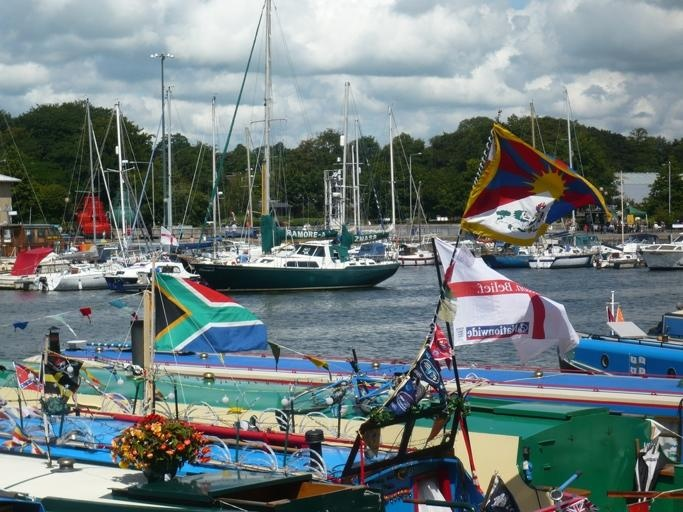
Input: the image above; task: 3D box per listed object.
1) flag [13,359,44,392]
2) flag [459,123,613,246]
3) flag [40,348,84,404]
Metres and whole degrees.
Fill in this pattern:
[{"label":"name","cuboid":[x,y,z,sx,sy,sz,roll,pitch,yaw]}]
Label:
[{"label":"flag","cuboid":[-6.701,2.578,27.932,0.824,0.090,0.849,35,-32,0]},{"label":"flag","cuboid":[4.305,-1.372,27.136,3.145,2.327,0.421,7,12,-21]},{"label":"flag","cuboid":[-5.842,2.542,27.198,0.205,1.128,1.037,-27,-30,38]}]
